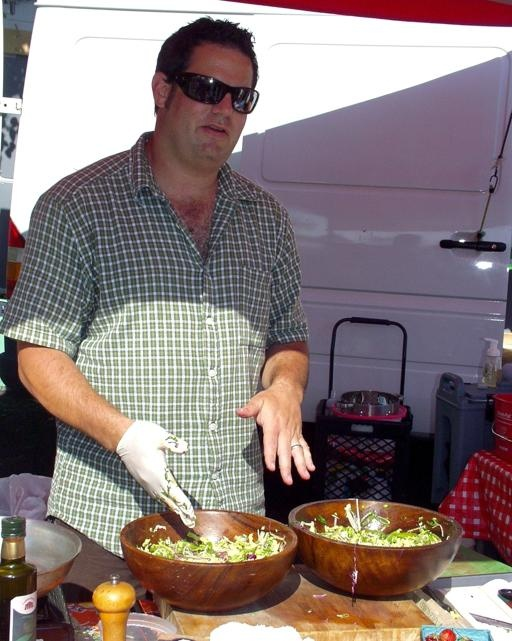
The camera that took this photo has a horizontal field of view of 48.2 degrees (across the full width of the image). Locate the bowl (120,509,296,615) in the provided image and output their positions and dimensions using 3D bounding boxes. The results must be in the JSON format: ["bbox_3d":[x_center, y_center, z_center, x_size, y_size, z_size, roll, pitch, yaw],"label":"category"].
[{"bbox_3d":[-0.087,0.446,1.063,0.312,0.096,0.274,1,0,-2],"label":"bowl"}]

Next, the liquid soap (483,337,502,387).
[{"bbox_3d":[1.470,0.253,3.576,0.114,0.266,0.325,6,0,21],"label":"liquid soap"}]
